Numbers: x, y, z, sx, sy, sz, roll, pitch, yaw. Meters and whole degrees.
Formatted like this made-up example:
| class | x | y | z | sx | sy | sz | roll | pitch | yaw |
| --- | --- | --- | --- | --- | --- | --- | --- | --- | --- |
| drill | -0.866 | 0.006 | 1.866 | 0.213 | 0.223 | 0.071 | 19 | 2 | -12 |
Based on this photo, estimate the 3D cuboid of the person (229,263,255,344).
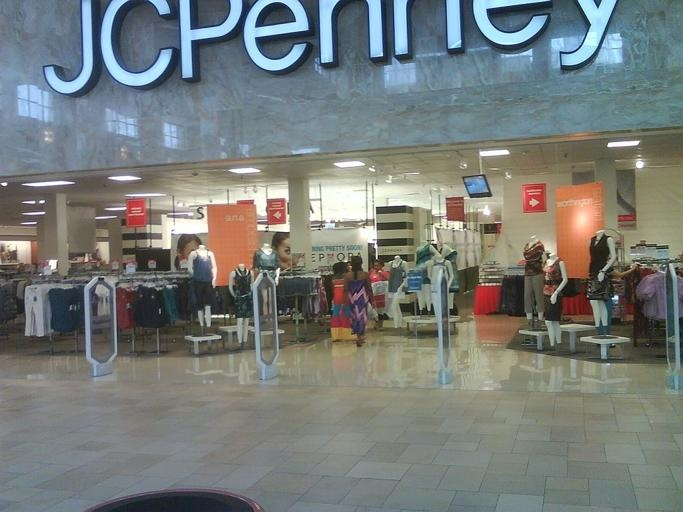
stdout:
| class | x | y | z | sx | sy | sz | roll | pitch | yaw |
| --- | --- | --- | --- | --- | --- | --- | --- | --- | --- |
| person | -1.823 | 0.934 | 10.367 | 0.427 | 1.280 | 0.705 | -3 | -1 | -9 |

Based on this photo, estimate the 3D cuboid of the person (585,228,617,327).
| class | x | y | z | sx | sy | sz | roll | pitch | yaw |
| --- | --- | --- | --- | --- | --- | --- | --- | --- | --- |
| person | 4.092 | 0.419 | 8.812 | 0.428 | 1.723 | 0.483 | -3 | -1 | 24 |

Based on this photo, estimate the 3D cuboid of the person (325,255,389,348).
| class | x | y | z | sx | sy | sz | roll | pitch | yaw |
| --- | --- | --- | --- | --- | --- | --- | --- | --- | --- |
| person | 0.213 | 0.839 | 11.120 | 0.874 | 1.528 | 1.357 | -3 | -1 | 2 |

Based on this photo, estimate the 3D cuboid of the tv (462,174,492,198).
| class | x | y | z | sx | sy | sz | roll | pitch | yaw |
| --- | --- | --- | --- | --- | --- | --- | --- | --- | --- |
| tv | 2.630 | -1.384 | 10.833 | 0.430 | 0.439 | 0.807 | -3 | -1 | 18 |

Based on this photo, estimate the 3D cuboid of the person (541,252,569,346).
| class | x | y | z | sx | sy | sz | roll | pitch | yaw |
| --- | --- | --- | --- | --- | --- | --- | --- | --- | --- |
| person | 3.443 | 0.733 | 8.979 | 0.367 | 1.557 | 1.031 | -3 | -1 | 19 |

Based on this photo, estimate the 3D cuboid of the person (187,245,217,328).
| class | x | y | z | sx | sy | sz | roll | pitch | yaw |
| --- | --- | --- | --- | --- | --- | --- | --- | --- | --- |
| person | -2.566 | 0.567 | 10.515 | 0.490 | 1.314 | 0.584 | -3 | -1 | -12 |
